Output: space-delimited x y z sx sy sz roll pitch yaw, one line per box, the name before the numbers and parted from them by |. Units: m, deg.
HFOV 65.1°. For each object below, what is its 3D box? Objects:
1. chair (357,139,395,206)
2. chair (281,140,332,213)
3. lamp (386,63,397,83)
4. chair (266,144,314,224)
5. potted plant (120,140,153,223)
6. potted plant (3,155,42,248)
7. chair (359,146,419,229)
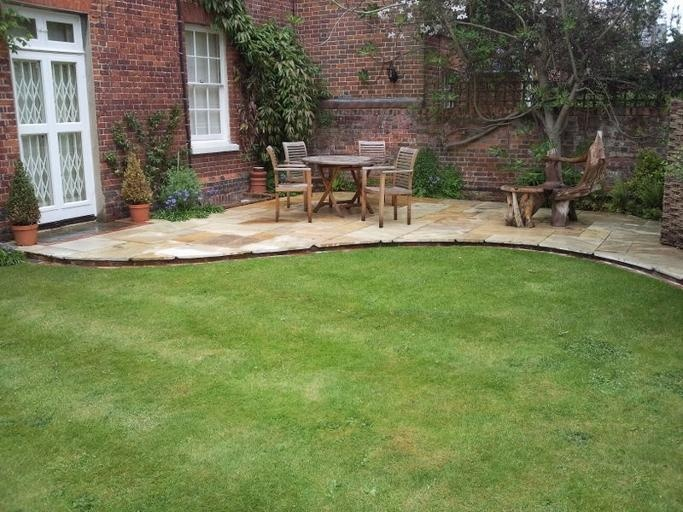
chair | 0.635 -1.801 10.090 0.616 1.195 0.786 -1 8 1
chair | -0.819 -1.506 10.182 0.636 1.093 0.753 -4 23 1
lamp | 1.110 -3.809 11.253 0.240 0.405 0.198 0 14 9
chair | -0.768 -1.293 9.255 0.875 1.231 1.000 -6 17 -10
potted plant | -3.440 -1.109 8.862 0.431 1.123 0.364 5 15 28
potted plant | -4.401 -0.705 7.303 0.392 1.119 0.347 -11 16 -33
chair | 0.762 -1.120 8.664 0.899 1.255 0.868 -9 15 -42
